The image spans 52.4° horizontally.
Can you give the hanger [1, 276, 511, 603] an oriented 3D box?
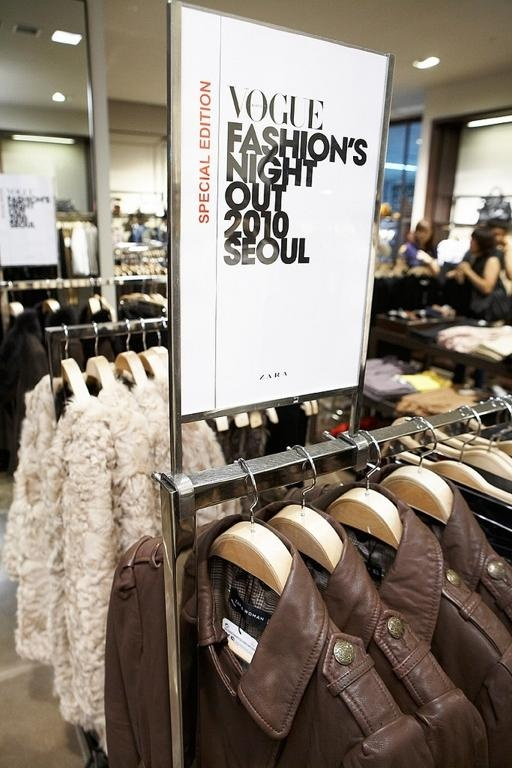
[{"bbox_3d":[-0.068,0.065,0.758,0.544,0.300,0.385,-12,18,-35],"label":"hanger"}]
